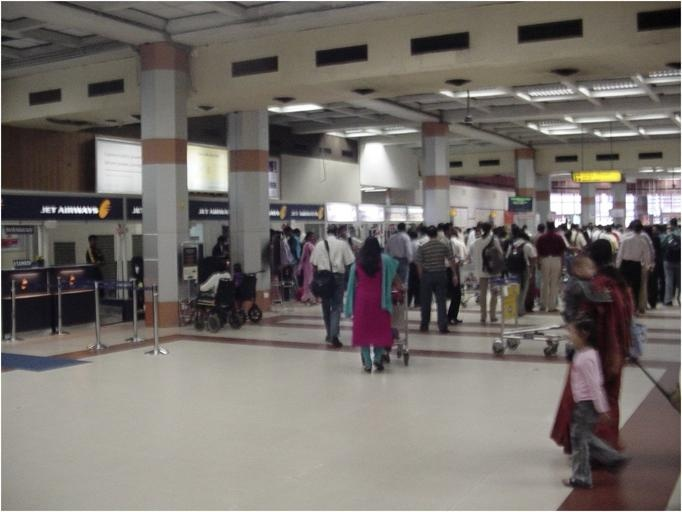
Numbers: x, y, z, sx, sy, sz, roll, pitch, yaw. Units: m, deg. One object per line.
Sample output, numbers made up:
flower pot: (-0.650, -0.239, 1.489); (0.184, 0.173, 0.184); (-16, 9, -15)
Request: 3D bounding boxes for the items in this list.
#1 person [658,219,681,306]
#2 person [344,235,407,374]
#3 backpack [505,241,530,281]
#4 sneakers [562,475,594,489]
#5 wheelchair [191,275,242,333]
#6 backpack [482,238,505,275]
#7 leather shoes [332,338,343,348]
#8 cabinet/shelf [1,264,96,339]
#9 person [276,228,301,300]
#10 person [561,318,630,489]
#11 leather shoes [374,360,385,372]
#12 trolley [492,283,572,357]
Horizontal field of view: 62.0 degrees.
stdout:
person: (8.073, 0.132, 13.889); (0.380, 2.090, 1.118); (1, 4, 30)
person: (0.422, 0.658, 7.887); (0.721, 1.858, 0.463); (-1, 4, 4)
backpack: (3.633, 0.127, 11.737); (0.435, 0.880, 0.425); (0, 4, 19)
sneakers: (1.896, 1.803, 4.541); (0.221, 0.093, 0.079); (-1, 4, 0)
wheelchair: (-2.283, 0.958, 11.448); (1.099, 1.192, 0.777); (6, 4, 39)
backpack: (2.971, 0.010, 11.060); (0.426, 0.741, 0.230); (-1, 4, 5)
leather shoes: (-0.070, 1.431, 9.552); (0.206, 0.176, 0.377); (-1, 4, 0)
cabinet/shelf: (-5.982, 0.883, 11.677); (0.491, 1.340, 1.804); (1, 5, 33)
person: (-1.405, 0.220, 15.293); (0.439, 2.068, 0.951); (-1, 4, 4)
person: (2.028, 1.175, 4.641); (0.531, 1.291, 0.337); (-4, 5, -42)
leather shoes: (0.544, 1.535, 7.939); (0.156, 0.162, 0.096); (-2, 7, -22)
trolley: (2.907, 1.068, 9.018); (1.367, 1.268, 1.141); (0, 2, 12)
